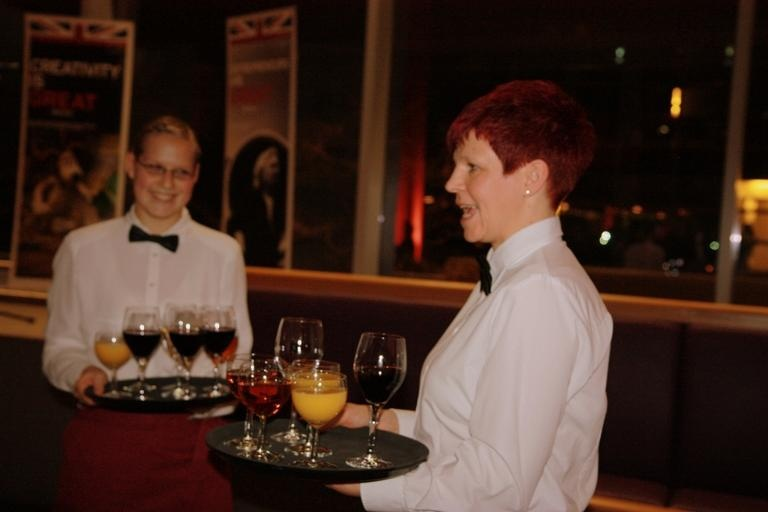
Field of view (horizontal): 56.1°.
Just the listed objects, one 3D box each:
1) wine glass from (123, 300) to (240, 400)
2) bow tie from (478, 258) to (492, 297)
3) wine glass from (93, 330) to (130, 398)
[{"bbox_3d":[-0.837,0.385,2.924,0.364,0.262,0.128,2,3,0],"label":"wine glass"},{"bbox_3d":[0.371,0.081,2.654,0.043,0.137,0.044,-3,0,36],"label":"bow tie"},{"bbox_3d":[-1.108,0.403,2.928,0.131,0.230,0.368,2,1,-21],"label":"wine glass"}]
